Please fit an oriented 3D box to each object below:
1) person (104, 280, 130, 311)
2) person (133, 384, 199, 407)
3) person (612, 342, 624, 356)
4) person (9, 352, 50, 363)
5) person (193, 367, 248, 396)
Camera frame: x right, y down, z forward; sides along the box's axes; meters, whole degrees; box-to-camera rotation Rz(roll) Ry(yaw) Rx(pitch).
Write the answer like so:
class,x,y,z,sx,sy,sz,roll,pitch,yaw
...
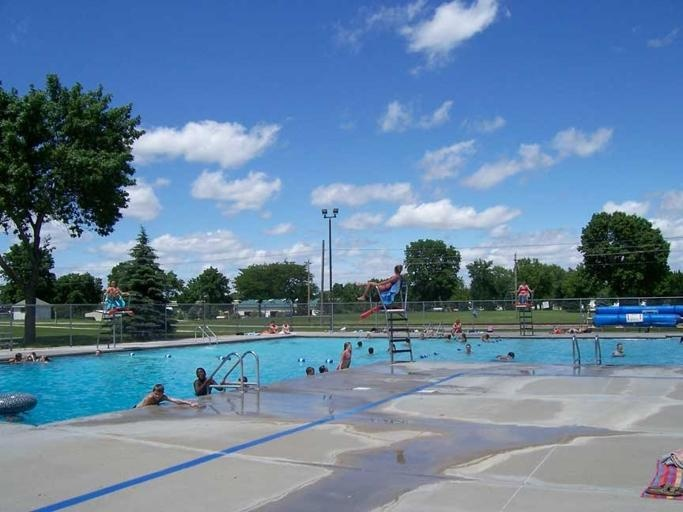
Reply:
class,x,y,z,sx,sy,sz,roll,pitch,yaw
person,-11.340,2.008,27.363,0.982,1.403,1.329,8,10,44
person,-3.681,3.004,11.652,1.399,0.442,0.862,-8,-8,43
person,12.117,4.146,24.058,0.458,0.557,1.770,-5,-6,26
person,-12.494,4.101,22.009,1.468,0.442,0.891,1,-7,-31
person,-3.269,3.180,13.609,1.356,0.731,0.747,-4,-5,27
